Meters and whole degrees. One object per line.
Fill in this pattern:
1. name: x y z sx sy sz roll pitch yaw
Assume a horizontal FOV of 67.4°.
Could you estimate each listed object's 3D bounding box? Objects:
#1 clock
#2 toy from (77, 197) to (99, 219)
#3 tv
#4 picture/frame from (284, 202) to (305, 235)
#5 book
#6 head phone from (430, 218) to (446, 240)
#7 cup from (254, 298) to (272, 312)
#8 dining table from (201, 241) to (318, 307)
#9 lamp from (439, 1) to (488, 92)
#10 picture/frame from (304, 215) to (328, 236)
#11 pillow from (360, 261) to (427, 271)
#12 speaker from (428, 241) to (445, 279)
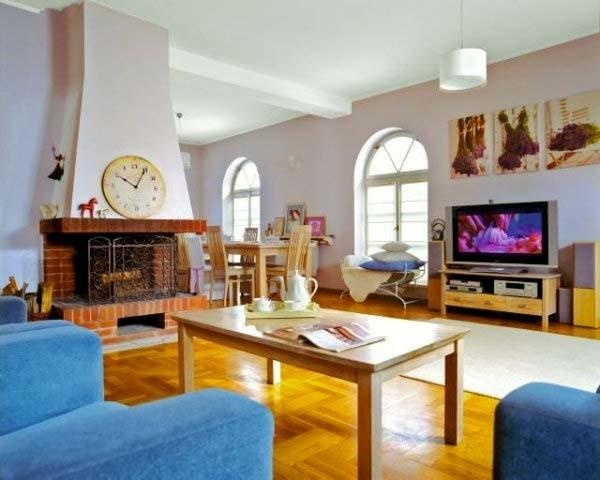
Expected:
1. clock: -1.563 -0.492 4.150 0.569 0.607 0.075 -2 -2 -39
2. toy: -1.837 -0.289 3.897 0.156 0.162 0.100 -1 0 -30
3. tv: 2.303 -0.037 5.056 0.838 0.575 0.086 0 2 41
4. picture/frame: -0.089 -0.369 7.377 0.068 0.719 0.578 2 -1 -37
5. book: 0.118 0.434 2.084 0.485 0.045 0.387 -1 0 44
6. head phone: 1.750 -0.142 5.728 0.164 0.302 0.441 -1 0 13
7. cup: -0.218 0.373 2.616 0.089 0.068 0.068 -1 -1 44
8. dining table: -0.392 0.562 5.972 0.814 0.619 1.105 2 -3 -38
9. lamp: 1.297 -1.354 3.588 0.338 0.237 0.374 -1 0 20
10. picture/frame: 0.262 -0.229 7.103 0.034 0.304 0.326 10 -9 -43
11. pillow: 1.162 0.327 5.713 0.818 0.148 0.301 -1 0 12
12. speaker: 1.677 0.239 5.552 0.204 0.472 0.122 -1 0 25
